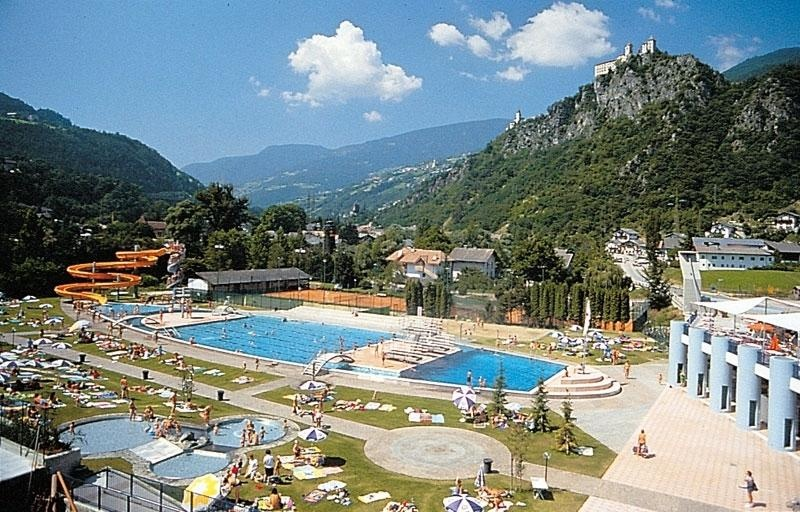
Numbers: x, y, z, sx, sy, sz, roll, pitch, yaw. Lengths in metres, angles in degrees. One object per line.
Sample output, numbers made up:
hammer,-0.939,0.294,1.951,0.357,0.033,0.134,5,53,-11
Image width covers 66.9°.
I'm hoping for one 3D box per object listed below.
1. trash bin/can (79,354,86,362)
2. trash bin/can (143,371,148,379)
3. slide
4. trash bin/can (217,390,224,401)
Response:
trash bin/can,-37.999,12.207,72.777,0.823,0.719,0.766,16,18,29
trash bin/can,-29.033,13.702,69.882,0.741,0.695,0.736,-4,12,-30
slide,-49.330,4.559,102.056,12.056,6.731,15.766,11,13,28
trash bin/can,-19.309,15.061,65.659,0.941,0.821,0.948,0,1,42
